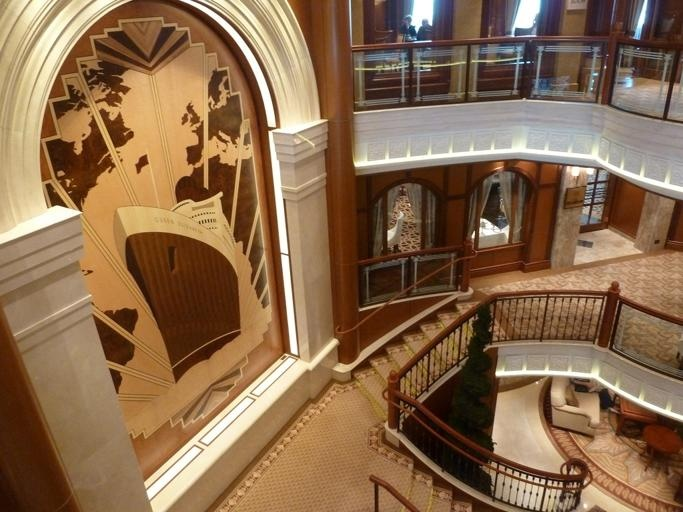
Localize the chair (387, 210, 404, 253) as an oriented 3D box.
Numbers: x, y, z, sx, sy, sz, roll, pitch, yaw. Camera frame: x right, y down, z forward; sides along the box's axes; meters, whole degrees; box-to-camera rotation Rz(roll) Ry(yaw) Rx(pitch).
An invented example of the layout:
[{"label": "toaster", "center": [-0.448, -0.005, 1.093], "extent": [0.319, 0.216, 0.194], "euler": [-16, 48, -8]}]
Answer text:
[{"label": "chair", "center": [1.149, -0.509, 10.245], "extent": [0.348, 0.876, 0.267], "euler": [0, 16, 5]}]

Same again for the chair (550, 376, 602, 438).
[{"label": "chair", "center": [5.685, 3.412, 11.728], "extent": [0.997, 0.897, 1.789], "euler": [6, 19, 28]}]
